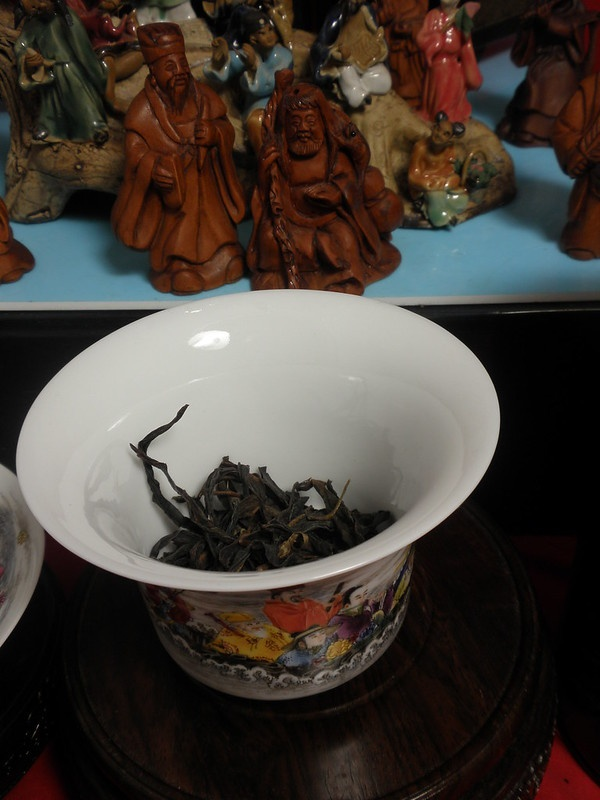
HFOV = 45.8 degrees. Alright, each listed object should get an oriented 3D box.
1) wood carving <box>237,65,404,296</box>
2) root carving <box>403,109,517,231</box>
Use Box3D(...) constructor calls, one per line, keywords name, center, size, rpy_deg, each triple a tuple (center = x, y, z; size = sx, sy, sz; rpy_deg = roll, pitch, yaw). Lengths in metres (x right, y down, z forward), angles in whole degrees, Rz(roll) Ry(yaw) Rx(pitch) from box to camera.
Box3D(name="wood carving", center=(0.050, -0.458, 1.560), size=(0.372, 0.493, 0.190), rpy_deg=(-7, 42, -2))
Box3D(name="root carving", center=(0.408, -0.614, 1.859), size=(0.251, 0.109, 0.326), rpy_deg=(30, 72, 19))
